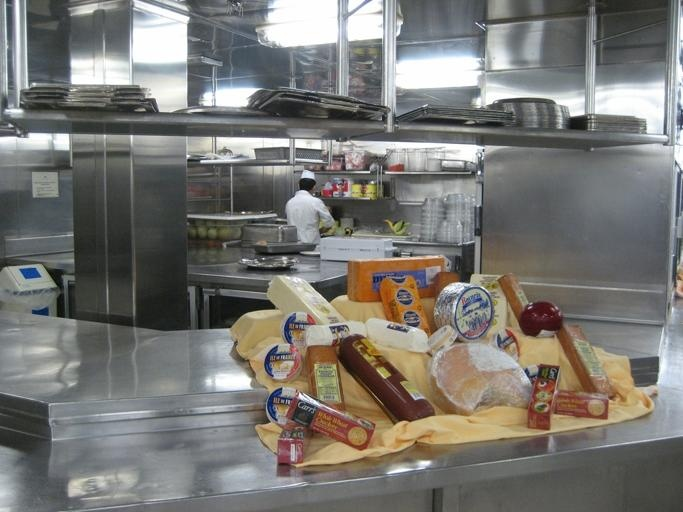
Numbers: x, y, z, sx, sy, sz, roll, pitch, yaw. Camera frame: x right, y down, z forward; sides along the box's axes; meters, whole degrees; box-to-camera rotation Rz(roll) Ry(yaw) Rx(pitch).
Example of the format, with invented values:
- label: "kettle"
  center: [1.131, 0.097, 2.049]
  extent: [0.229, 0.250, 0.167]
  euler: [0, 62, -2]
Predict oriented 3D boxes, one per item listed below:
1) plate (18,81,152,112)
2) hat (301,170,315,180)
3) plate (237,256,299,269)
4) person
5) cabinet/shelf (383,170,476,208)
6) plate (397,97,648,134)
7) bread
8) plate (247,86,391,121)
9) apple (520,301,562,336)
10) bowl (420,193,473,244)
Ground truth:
- label: "plate"
  center: [-0.939, -0.577, 2.025]
  extent: [0.493, 0.101, 0.121]
  euler: [-1, 6, 1]
- label: "hat"
  center: [-0.434, -1.035, 7.022]
  extent: [0.218, 0.156, 0.202]
  euler: [-1, 13, -5]
- label: "plate"
  center: [-0.583, 0.045, 4.304]
  extent: [0.395, 0.077, 0.504]
  euler: [-3, 6, -13]
- label: "person"
  center: [-0.394, -0.592, 6.736]
  extent: [0.549, 0.921, 0.862]
  euler: [-2, 6, -2]
- label: "cabinet/shelf"
  center: [1.152, -0.870, 7.066]
  extent: [0.965, 0.280, 0.300]
  euler: [0, -2, 23]
- label: "plate"
  center: [0.791, -0.619, 2.405]
  extent: [1.194, 0.163, 0.183]
  euler: [-3, 6, -19]
- label: "bread"
  center: [0.412, 0.360, 1.637]
  extent: [0.302, 0.168, 0.152]
  euler: [-1, 6, 7]
- label: "plate"
  center: [-0.091, -0.561, 2.064]
  extent: [0.213, 0.055, 0.304]
  euler: [9, 7, 43]
- label: "apple"
  center: [0.667, 0.201, 1.831]
  extent: [0.127, 0.093, 0.121]
  euler: [2, 11, 18]
- label: "bowl"
  center: [1.154, -0.415, 6.083]
  extent: [0.579, 0.532, 0.346]
  euler: [-1, 7, 8]
